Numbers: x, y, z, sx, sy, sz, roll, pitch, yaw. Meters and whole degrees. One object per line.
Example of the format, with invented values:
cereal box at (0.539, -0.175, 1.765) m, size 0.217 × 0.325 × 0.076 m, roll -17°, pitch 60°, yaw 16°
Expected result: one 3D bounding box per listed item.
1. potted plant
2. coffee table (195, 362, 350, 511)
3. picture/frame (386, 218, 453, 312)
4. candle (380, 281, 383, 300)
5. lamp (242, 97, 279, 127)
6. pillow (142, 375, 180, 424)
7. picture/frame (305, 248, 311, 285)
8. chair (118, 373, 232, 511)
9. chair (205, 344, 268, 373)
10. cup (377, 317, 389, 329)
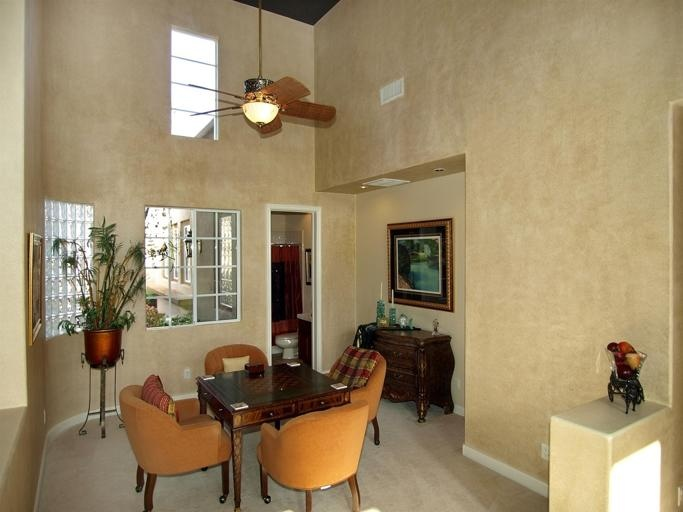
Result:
potted plant at (-2.873, 0.422, 6.796) m, size 1.349 × 1.798 × 1.428 m, roll -1°, pitch -1°, yaw -2°
coffee table at (-0.826, 1.646, 5.531) m, size 1.152 × 0.836 × 1.182 m, roll 0°, pitch -3°, yaw -32°
picture/frame at (1.056, 0.099, 7.205) m, size 0.087 × 1.263 × 1.180 m, roll -2°, pitch -1°, yaw -34°
candle at (0.575, 0.484, 7.900) m, size 0.021 × 0.249 × 0.068 m, roll -2°, pitch 2°, yaw -26°
lamp at (-0.770, -1.345, 5.090) m, size 0.233 × 0.153 × 0.230 m, roll -3°, pitch 6°, yaw -26°
pillow at (-1.736, 1.368, 5.272) m, size 0.206 × 0.505 × 0.584 m, roll -8°, pitch 7°, yaw -33°
picture/frame at (-0.567, 0.160, 9.405) m, size 0.047 × 0.609 × 0.245 m, roll -2°, pitch 2°, yaw -22°
chair at (-1.635, 1.729, 5.404) m, size 1.142 × 1.339 × 0.960 m, roll -2°, pitch 5°, yaw -28°
chair at (-1.287, 1.185, 6.526) m, size 0.475 × 0.446 × 0.421 m, roll 2°, pitch -18°, yaw -20°
cup at (0.546, 0.873, 7.368) m, size 0.139 × 0.146 × 0.106 m, roll 1°, pitch 4°, yaw 6°
